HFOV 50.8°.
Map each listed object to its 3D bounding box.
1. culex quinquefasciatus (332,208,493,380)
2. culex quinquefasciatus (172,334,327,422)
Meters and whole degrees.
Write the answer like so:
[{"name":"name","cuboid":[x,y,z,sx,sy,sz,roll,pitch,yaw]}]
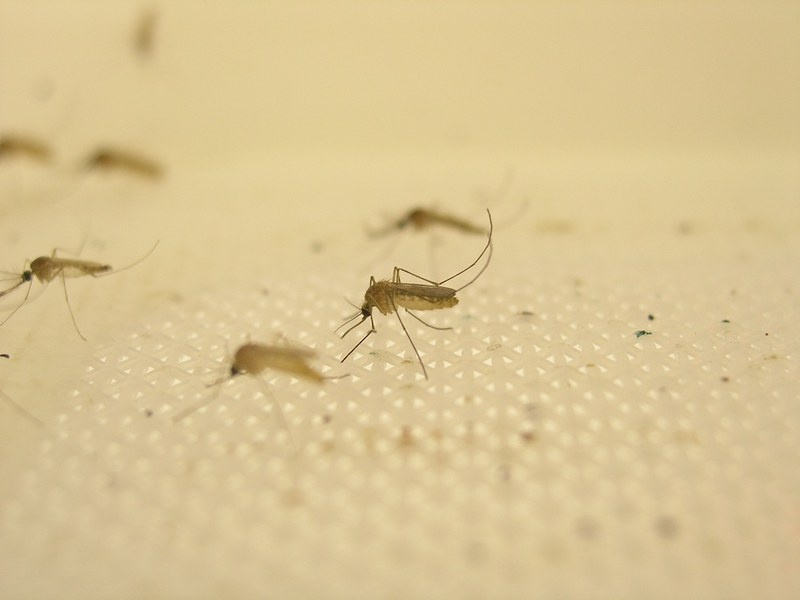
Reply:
[{"name":"culex quinquefasciatus","cuboid":[0.010,-0.012,1.587,0.337,0.164,0.177,-8,101,23]},{"name":"culex quinquefasciatus","cuboid":[-0.254,0.109,1.485,0.172,0.020,0.160,7,29,12]}]
